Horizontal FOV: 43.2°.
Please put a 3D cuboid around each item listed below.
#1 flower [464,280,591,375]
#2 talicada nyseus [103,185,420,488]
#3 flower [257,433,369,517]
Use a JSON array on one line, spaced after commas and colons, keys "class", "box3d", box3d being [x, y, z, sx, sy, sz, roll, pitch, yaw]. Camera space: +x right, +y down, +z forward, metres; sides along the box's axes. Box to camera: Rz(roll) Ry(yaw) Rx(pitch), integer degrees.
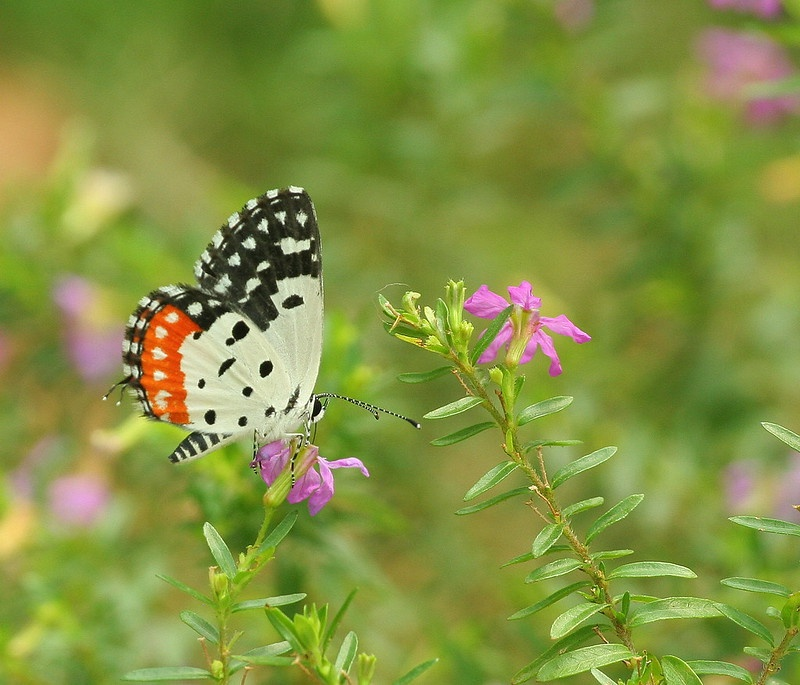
[{"class": "flower", "box3d": [0.325, -0.025, 2.634, 0.279, 0.270, 0.195, -11, 13, -28]}, {"class": "talicada nyseus", "box3d": [-0.490, -0.051, 2.815, 0.579, 0.716, 0.177, -8, 12, -11]}, {"class": "flower", "box3d": [-0.246, 0.355, 2.725, 0.271, 0.110, 0.218, 24, 25, 19]}]
